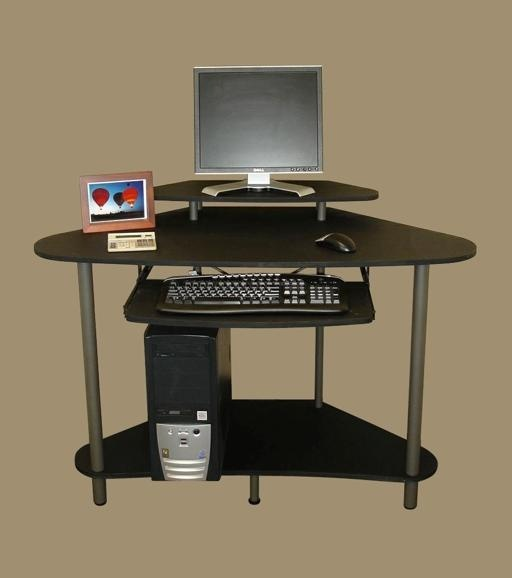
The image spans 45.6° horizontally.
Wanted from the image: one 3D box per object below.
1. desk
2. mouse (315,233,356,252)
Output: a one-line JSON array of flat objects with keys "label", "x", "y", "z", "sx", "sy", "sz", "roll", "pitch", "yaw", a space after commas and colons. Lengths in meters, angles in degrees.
[{"label": "desk", "x": 0.030, "y": 0.192, "z": 2.349, "sx": 1.557, "sy": 0.801, "sz": 0.890, "roll": 1, "pitch": -80, "yaw": 5}, {"label": "mouse", "x": 0.263, "y": -0.152, "z": 1.968, "sx": 0.068, "sy": 0.110, "sz": 0.032, "roll": -20, "pitch": -60, "yaw": -40}]
